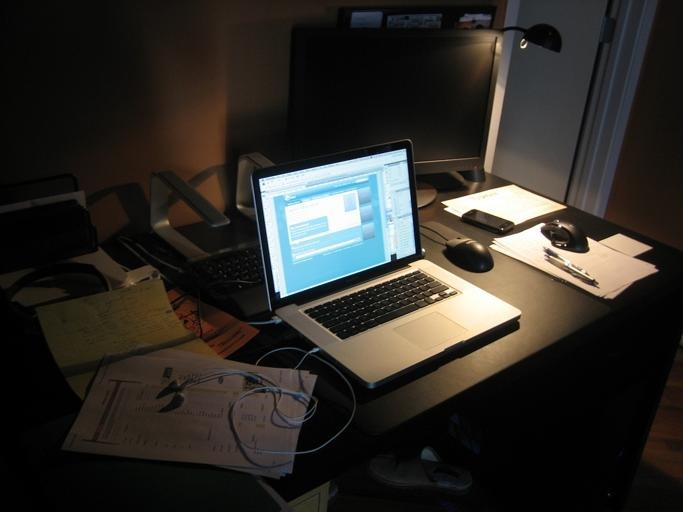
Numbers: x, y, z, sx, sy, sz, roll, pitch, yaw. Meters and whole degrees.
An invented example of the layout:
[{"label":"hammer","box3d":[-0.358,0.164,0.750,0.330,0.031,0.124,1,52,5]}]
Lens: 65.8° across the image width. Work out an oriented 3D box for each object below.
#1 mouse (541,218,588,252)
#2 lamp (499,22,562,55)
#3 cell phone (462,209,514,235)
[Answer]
[{"label":"mouse","box3d":[0.612,-0.057,1.453,0.075,0.040,0.109,-18,40,-26]},{"label":"lamp","box3d":[0.590,-0.692,1.656,0.182,0.083,0.191,8,35,13]},{"label":"cell phone","box3d":[0.428,-0.105,1.542,0.119,0.020,0.070,27,37,34]}]
